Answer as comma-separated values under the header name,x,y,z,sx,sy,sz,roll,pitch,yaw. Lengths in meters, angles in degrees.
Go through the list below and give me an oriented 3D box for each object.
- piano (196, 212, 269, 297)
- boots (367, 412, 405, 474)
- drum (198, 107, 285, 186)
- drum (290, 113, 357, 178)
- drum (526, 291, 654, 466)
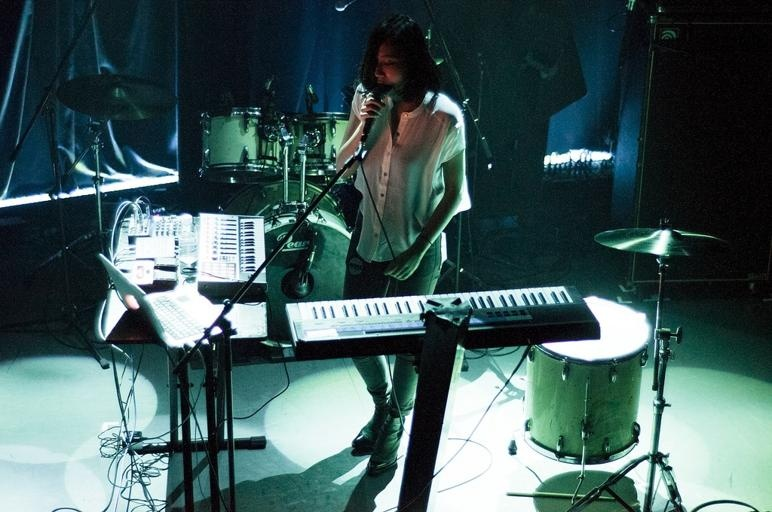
name,x,y,z,sx,sy,sz,roll,pitch,yaw
piano,-0.928,0.043,4.376,0.478,0.193,0.738,-1,50,-8
boots,-0.001,1.228,4.481,0.149,0.296,0.417,13,38,13
drum,-1.270,-0.956,6.078,0.648,0.460,0.643,0,4,0
drum,-0.383,-1.012,6.216,0.511,0.493,0.492,-3,6,-23
drum,1.276,0.932,4.424,0.595,0.583,0.593,2,1,43
